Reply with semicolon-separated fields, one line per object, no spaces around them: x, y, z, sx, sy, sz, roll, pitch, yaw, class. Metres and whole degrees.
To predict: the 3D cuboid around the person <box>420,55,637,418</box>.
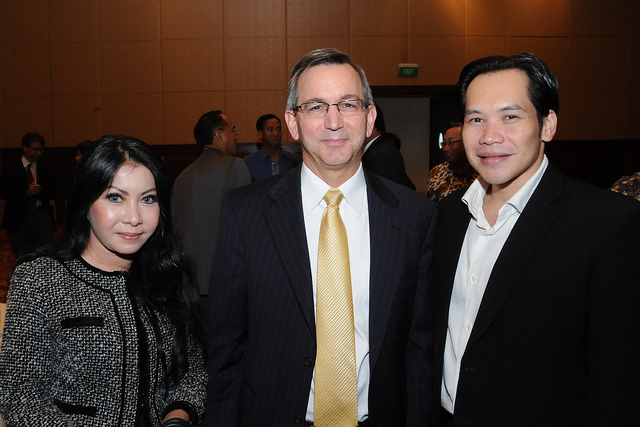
0.976;0.136;2.520;0.941;1.733;0.682;3;14;11;person

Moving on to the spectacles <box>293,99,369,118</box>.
0.063;-0.516;2.562;0.331;0.081;0.068;-1;15;-2;spectacles

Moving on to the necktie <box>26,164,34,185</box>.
-3.501;-0.490;6.335;0.068;0.191;0.163;-8;17;-28;necktie
